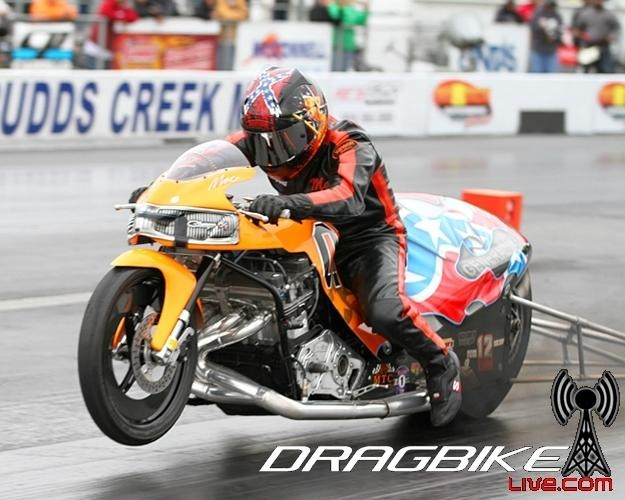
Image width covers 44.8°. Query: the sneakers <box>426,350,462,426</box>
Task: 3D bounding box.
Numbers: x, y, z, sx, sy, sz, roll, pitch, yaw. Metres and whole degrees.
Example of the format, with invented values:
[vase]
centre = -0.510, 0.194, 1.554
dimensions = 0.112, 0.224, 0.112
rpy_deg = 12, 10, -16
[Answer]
[sneakers]
centre = 0.704, 0.738, 4.096
dimensions = 0.239, 0.378, 0.163
rpy_deg = -6, 8, -11
